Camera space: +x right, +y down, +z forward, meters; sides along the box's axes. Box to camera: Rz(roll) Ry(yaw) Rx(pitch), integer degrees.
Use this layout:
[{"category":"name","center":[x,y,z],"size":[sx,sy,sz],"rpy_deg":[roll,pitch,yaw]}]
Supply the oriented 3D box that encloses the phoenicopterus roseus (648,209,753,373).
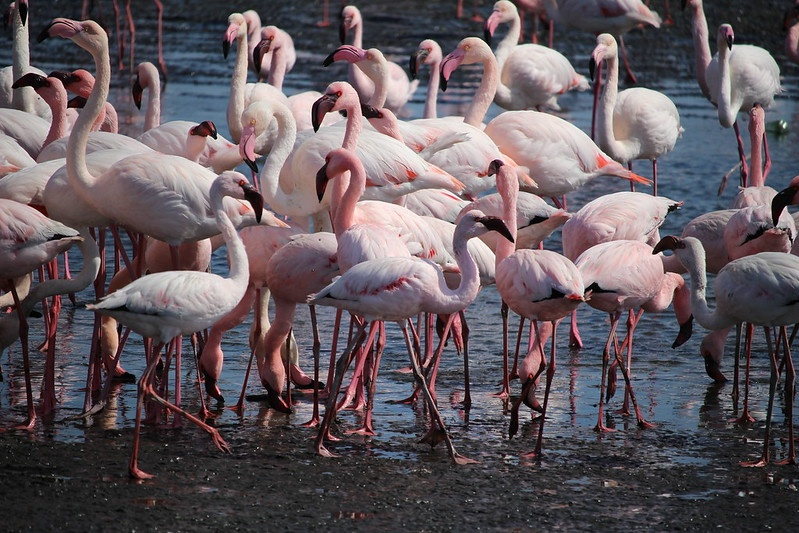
[{"category":"phoenicopterus roseus","center":[2.522,0.246,11.318],"size":[0.615,1.475,0.948],"rpy_deg":[-3,-8,2]}]
